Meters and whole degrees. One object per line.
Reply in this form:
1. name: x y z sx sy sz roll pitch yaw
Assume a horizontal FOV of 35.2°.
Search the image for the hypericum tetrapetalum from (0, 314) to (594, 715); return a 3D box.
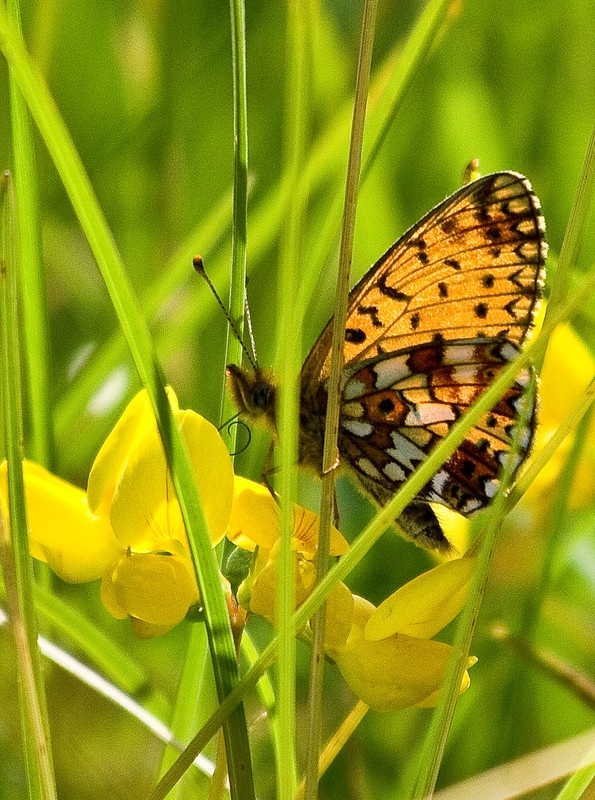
1. hypericum tetrapetalum: -0.008 0.142 1.110 0.481 0.317 0.403 4 -53 33
